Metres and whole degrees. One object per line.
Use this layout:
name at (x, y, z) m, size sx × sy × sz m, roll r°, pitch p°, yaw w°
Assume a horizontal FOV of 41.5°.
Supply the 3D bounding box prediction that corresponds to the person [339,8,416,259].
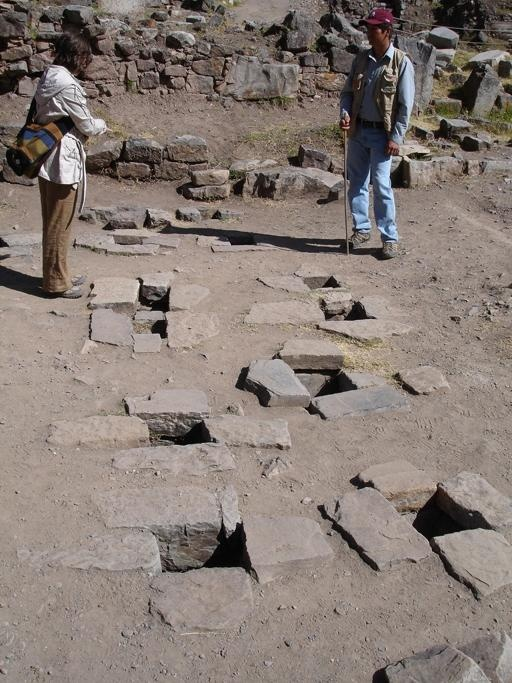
person at (1.041, -1.727, 5.815) m, size 0.602 × 1.948 × 0.596 m, roll 7°, pitch 19°, yaw 0°

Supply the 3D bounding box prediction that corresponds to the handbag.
handbag at (-1.415, -1.269, 4.378) m, size 0.389 × 0.390 × 0.187 m, roll 12°, pitch 19°, yaw 14°

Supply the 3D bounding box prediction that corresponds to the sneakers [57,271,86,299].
sneakers at (-1.340, -0.397, 4.913) m, size 0.093 × 0.110 × 0.262 m, roll 2°, pitch 7°, yaw 4°

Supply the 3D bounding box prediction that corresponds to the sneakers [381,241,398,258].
sneakers at (1.196, -0.830, 6.003) m, size 0.087 × 0.101 × 0.228 m, roll -1°, pitch 21°, yaw 10°

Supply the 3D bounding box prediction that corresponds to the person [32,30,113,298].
person at (-1.268, -1.127, 4.543) m, size 0.458 × 1.738 × 0.544 m, roll 1°, pitch 20°, yaw -18°

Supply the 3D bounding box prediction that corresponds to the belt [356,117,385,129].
belt at (0.966, -1.860, 5.760) m, size 0.071 × 0.088 × 0.261 m, roll -11°, pitch 25°, yaw -43°
